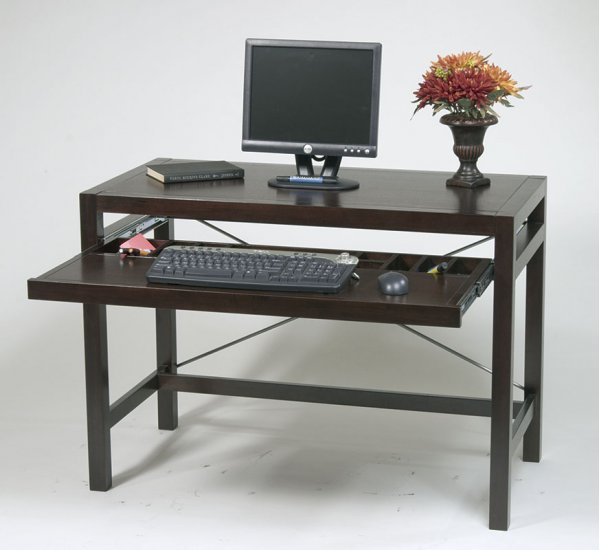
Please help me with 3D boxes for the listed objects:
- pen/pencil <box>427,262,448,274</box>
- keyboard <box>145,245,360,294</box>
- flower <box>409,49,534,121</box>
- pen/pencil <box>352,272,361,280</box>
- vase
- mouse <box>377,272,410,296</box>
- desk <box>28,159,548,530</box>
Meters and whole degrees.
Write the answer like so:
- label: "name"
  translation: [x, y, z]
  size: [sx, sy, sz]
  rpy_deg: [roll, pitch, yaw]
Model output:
- label: "pen/pencil"
  translation: [0.326, -0.016, 1.500]
  size: [0.020, 0.018, 0.073]
  rpy_deg: [2, -7, -12]
- label: "keyboard"
  translation: [-0.099, -0.021, 1.470]
  size: [0.464, 0.068, 0.269]
  rpy_deg: [2, 10, 10]
- label: "flower"
  translation: [0.466, -0.504, 1.723]
  size: [0.269, 0.169, 0.272]
  rpy_deg: [-27, 25, -38]
- label: "pen/pencil"
  translation: [0.133, 0.004, 1.454]
  size: [0.014, 0.006, 0.018]
  rpy_deg: [15, 28, -25]
- label: "vase"
  translation: [0.468, -0.336, 1.744]
  size: [0.156, 0.157, 0.152]
  rpy_deg: [5, 13, 27]
- label: "mouse"
  translation: [0.196, 0.017, 1.329]
  size: [0.040, 0.018, 0.060]
  rpy_deg: [-1, 20, 1]
- label: "desk"
  translation: [-0.050, 0.222, 1.674]
  size: [1.156, 0.723, 0.942]
  rpy_deg: [3, 6, 19]
